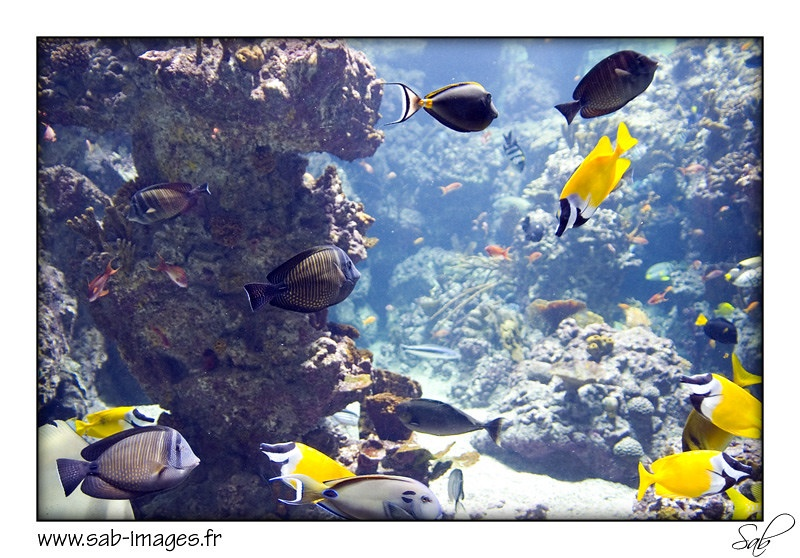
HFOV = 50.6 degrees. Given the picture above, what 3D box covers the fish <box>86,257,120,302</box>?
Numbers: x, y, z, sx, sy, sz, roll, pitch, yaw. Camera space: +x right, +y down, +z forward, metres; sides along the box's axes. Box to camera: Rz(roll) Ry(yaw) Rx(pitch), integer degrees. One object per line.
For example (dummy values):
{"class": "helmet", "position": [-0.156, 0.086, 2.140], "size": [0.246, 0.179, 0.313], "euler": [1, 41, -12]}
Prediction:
{"class": "fish", "position": [-5.820, -0.022, 16.814], "size": [0.469, 0.417, 0.942], "euler": [-11, 28, 12]}
